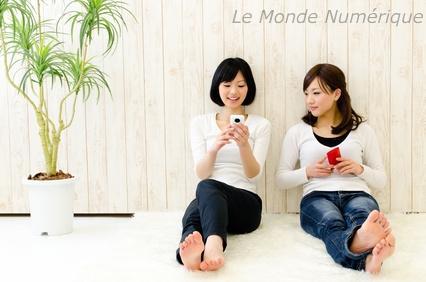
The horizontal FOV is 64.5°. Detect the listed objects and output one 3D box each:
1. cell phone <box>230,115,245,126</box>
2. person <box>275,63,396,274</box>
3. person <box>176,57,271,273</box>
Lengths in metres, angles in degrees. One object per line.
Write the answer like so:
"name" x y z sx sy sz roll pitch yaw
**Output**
"cell phone" 0.183 -0.163 2.417 0.104 0.093 0.062 0 14 2
"person" 0.846 0.101 2.482 0.815 1.375 0.799 0 4 27
"person" 0.059 0.069 2.458 0.605 1.435 0.990 0 4 18
